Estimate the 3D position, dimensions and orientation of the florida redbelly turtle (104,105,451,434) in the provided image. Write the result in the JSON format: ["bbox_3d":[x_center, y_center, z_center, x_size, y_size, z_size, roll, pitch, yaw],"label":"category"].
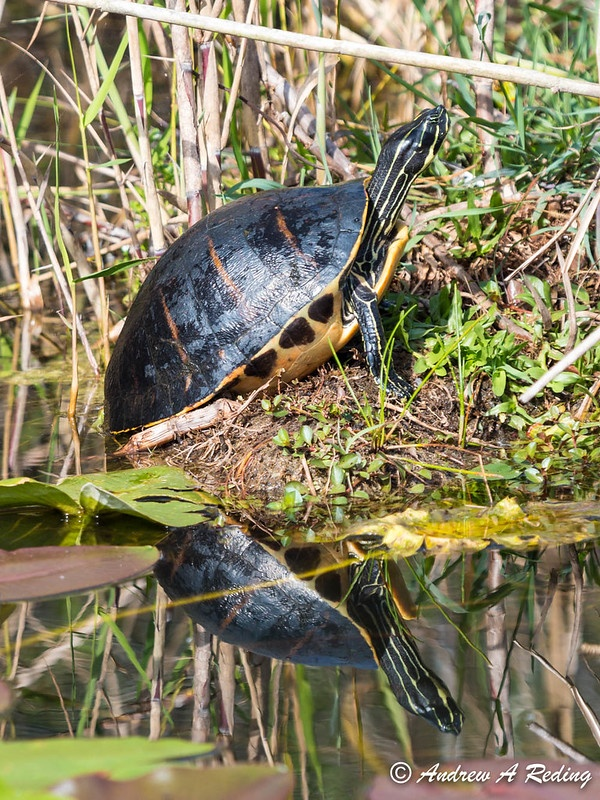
[{"bbox_3d":[-0.067,-0.400,2.758,1.352,0.484,0.814,-24,32,4],"label":"florida redbelly turtle"}]
